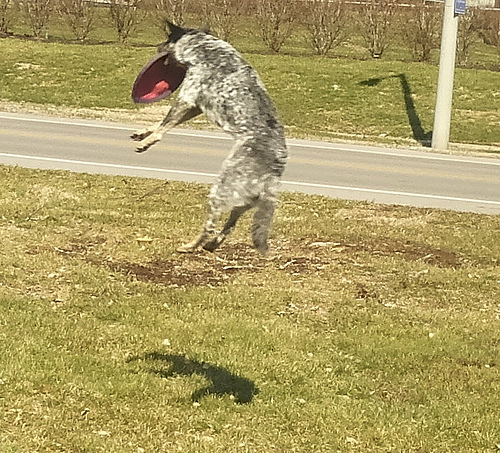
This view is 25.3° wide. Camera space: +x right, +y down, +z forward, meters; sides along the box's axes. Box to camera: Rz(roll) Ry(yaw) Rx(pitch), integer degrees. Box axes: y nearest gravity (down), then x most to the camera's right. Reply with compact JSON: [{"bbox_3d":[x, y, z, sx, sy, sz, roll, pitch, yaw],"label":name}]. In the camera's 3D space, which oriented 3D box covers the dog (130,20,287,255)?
[{"bbox_3d":[-0.450,-1.300,17.285,1.933,3.495,0.966,7,11,20],"label":"dog"}]
